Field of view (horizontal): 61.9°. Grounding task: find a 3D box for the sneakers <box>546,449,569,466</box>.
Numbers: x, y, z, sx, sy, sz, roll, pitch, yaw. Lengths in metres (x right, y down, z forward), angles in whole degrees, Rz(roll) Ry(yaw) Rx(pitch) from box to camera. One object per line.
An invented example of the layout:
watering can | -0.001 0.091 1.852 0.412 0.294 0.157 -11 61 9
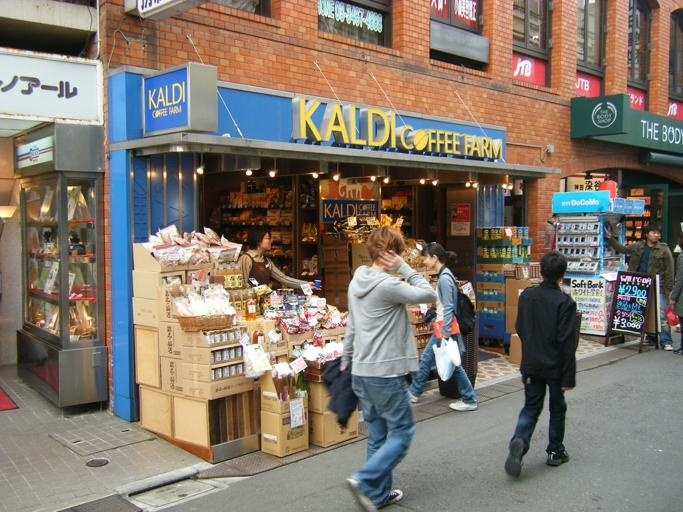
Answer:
sneakers | 2.303 2.169 6.111 0.117 0.127 0.275 3 8 34

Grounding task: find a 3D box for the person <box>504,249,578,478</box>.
person | 2.089 1.121 5.942 0.647 2.292 0.910 1 6 22

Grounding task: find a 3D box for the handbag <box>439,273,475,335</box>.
handbag | 1.657 0.746 7.911 0.649 0.637 0.427 -5 13 1

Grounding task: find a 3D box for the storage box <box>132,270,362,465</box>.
storage box | -1.647 0.763 7.574 1.914 2.643 2.668 -5 8 -25

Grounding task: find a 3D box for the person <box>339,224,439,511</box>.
person | 0.398 1.073 5.278 0.800 2.646 0.617 -1 6 -1

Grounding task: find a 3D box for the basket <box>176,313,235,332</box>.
basket | -1.538 0.768 6.497 0.605 0.207 0.200 -3 6 -15

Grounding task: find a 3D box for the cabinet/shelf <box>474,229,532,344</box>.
cabinet/shelf | 3.036 0.444 12.063 1.264 2.387 1.391 7 4 3

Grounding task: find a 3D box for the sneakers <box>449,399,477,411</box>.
sneakers | 1.681 2.068 7.877 0.367 0.161 0.146 3 -2 0

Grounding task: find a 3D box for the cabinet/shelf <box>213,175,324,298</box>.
cabinet/shelf | -1.836 -0.047 12.235 2.013 1.173 3.821 -1 48 -5
